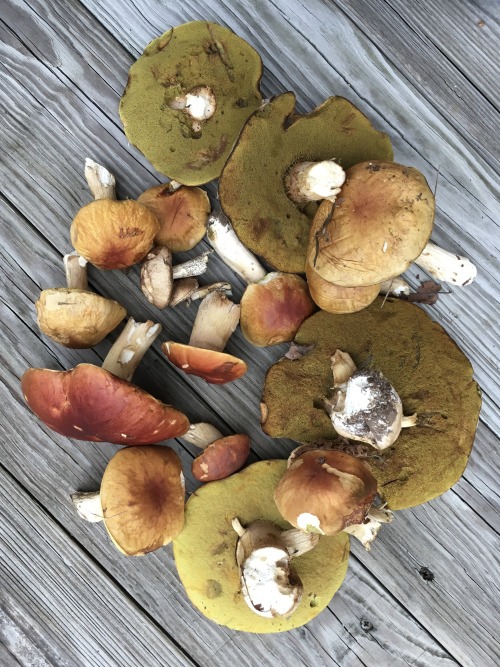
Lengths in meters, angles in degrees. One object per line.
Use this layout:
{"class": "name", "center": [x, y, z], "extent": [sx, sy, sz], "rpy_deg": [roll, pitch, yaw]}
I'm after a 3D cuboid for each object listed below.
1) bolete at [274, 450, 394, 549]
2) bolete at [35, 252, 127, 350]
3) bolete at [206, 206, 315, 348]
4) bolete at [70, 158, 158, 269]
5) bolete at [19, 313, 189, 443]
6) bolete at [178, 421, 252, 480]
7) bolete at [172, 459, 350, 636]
{"class": "bolete", "center": [0.354, 0.695, 3.236], "extent": [0.498, 0.390, 0.368], "rpy_deg": [-13, 43, 6]}
{"class": "bolete", "center": [-0.740, -0.141, 3.393], "extent": [0.376, 0.342, 0.314], "rpy_deg": [20, 51, -30]}
{"class": "bolete", "center": [0.024, -0.228, 3.438], "extent": [0.412, 0.164, 0.709], "rpy_deg": [-37, 82, -4]}
{"class": "bolete", "center": [-0.586, -0.529, 3.378], "extent": [0.438, 0.403, 0.398], "rpy_deg": [-14, 37, -6]}
{"class": "bolete", "center": [-0.634, 0.238, 3.277], "extent": [0.656, 0.436, 0.577], "rpy_deg": [-19, 83, -3]}
{"class": "bolete", "center": [-0.147, 0.524, 3.480], "extent": [0.282, 0.267, 0.277], "rpy_deg": [-21, 83, -3]}
{"class": "bolete", "center": [0.082, 0.956, 3.412], "extent": [0.253, 0.875, 0.708], "rpy_deg": [13, 73, -41]}
